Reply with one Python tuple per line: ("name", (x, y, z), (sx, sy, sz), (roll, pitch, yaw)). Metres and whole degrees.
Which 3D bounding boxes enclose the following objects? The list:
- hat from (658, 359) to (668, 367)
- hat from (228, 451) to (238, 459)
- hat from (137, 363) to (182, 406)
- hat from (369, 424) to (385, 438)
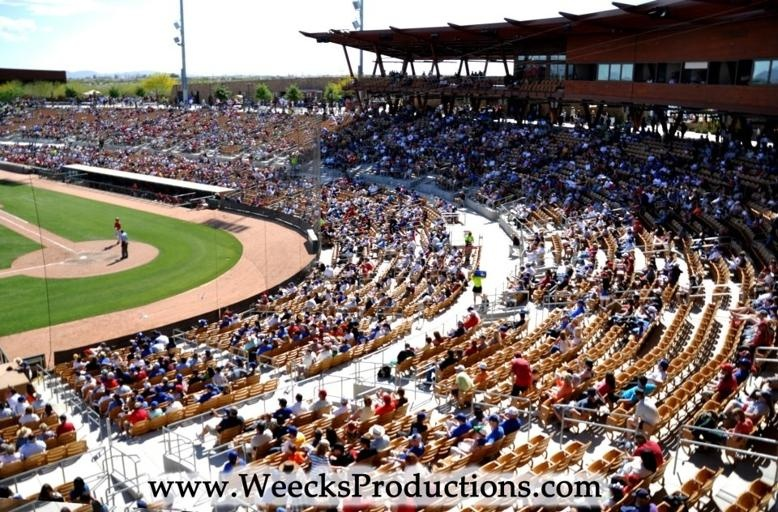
("hat", (8.076, 3.178, 18.454), (0.223, 0.167, 0.222), (5, 5, -3))
("hat", (-4.036, 5.134, 16.230), (0.196, 0.226, 0.251), (0, 10, 13))
("hat", (-7.695, 4.712, 21.201), (0.989, 1.328, 1.000), (-14, 53, -34))
("hat", (-0.335, 4.692, 16.600), (0.366, 0.124, 0.361), (16, 22, 39))
